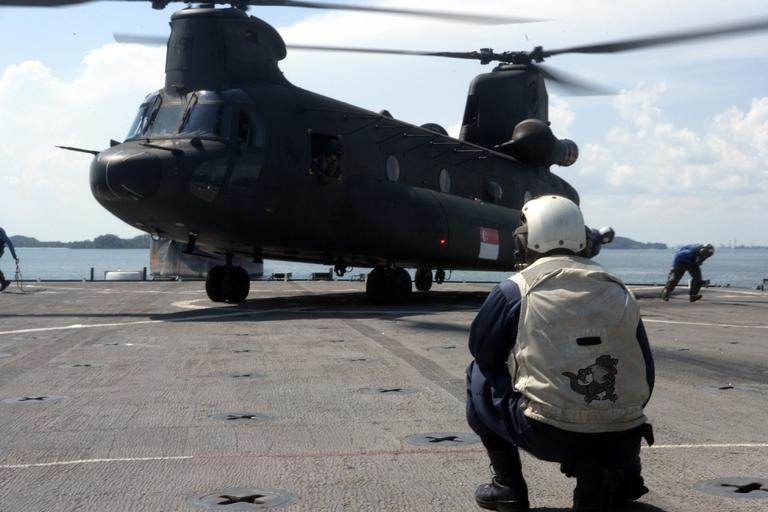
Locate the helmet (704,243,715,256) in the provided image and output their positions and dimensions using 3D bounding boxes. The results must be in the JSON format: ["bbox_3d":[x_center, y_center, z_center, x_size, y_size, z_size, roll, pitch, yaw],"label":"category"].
[{"bbox_3d":[9.524,-0.168,19.375,0.448,0.254,0.471,-3,-7,30],"label":"helmet"}]

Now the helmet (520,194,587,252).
[{"bbox_3d":[1.320,-0.229,5.164,0.536,0.364,0.472,0,18,2],"label":"helmet"}]
